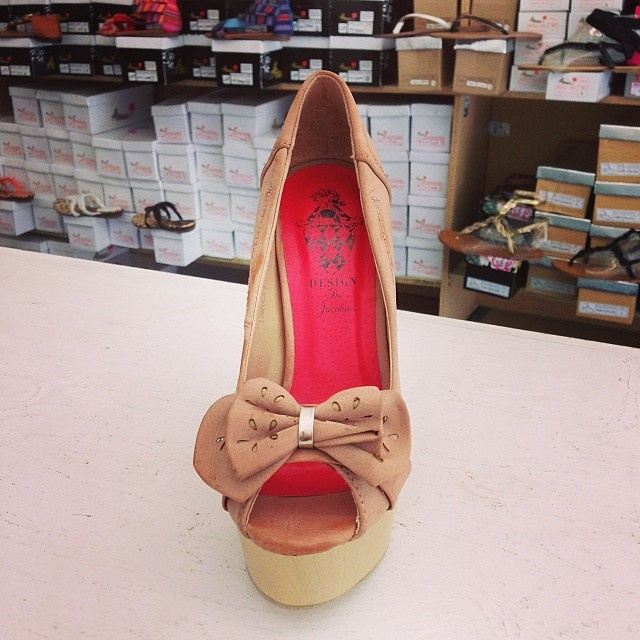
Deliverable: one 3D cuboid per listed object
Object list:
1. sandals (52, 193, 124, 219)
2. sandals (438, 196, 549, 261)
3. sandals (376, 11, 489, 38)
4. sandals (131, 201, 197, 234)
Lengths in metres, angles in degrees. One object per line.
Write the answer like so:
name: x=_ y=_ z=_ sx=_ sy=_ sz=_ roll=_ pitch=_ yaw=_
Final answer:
sandals: x=-0.809 y=-0.393 z=2.301 sx=0.274 sy=0.062 sz=0.094 roll=2 pitch=43 yaw=5
sandals: x=0.479 y=-0.251 z=1.808 sx=0.299 sy=0.096 sz=0.083 roll=9 pitch=18 yaw=1
sandals: x=0.316 y=-0.774 z=1.706 sx=0.254 sy=0.027 sz=0.108 roll=1 pitch=30 yaw=12
sandals: x=-0.465 y=-0.343 z=2.170 sx=0.279 sy=0.085 sz=0.086 roll=6 pitch=39 yaw=10
